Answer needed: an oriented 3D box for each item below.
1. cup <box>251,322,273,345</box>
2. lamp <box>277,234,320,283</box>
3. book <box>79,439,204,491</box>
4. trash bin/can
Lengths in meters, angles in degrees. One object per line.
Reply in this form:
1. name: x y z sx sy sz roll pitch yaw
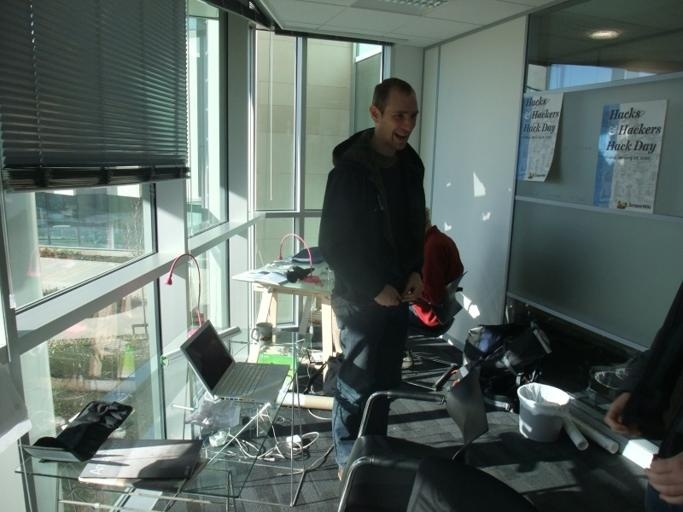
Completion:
1. cup: -0.492 0.482 3.406 0.078 0.090 0.126 7 10 21
2. lamp: -0.324 -0.004 4.661 0.337 0.440 0.469 -5 10 -37
3. book: -0.828 0.868 2.299 0.268 0.075 0.213 2 13 3
4. trash bin/can: 1.435 1.058 3.891 0.339 0.296 0.364 6 9 28
